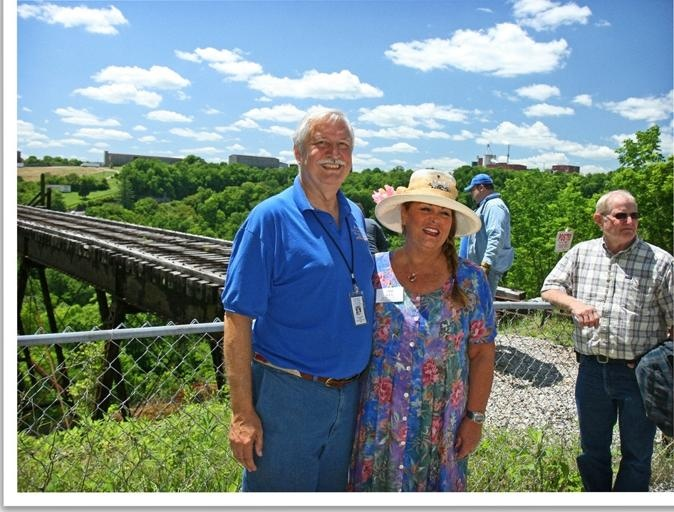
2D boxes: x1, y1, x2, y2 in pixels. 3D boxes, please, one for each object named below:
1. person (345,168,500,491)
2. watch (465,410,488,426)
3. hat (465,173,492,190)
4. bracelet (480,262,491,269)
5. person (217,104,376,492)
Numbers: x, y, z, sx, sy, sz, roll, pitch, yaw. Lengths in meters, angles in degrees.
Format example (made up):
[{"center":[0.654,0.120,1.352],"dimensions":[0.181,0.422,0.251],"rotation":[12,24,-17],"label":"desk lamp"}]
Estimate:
[{"center":[0.427,0.684,3.081],"dimensions":[0.936,2.311,0.767],"rotation":[3,15,7],"label":"person"},{"center":[0.790,0.909,2.938],"dimensions":[0.091,0.068,0.103],"rotation":[0,-18,43],"label":"watch"},{"center":[1.969,-1.039,7.216],"dimensions":[0.362,0.209,0.258],"rotation":[-1,5,16],"label":"hat"},{"center":[1.804,0.111,6.275],"dimensions":[0.085,0.056,0.108],"rotation":[-2,7,-43],"label":"bracelet"},{"center":[-0.178,0.258,2.838],"dimensions":[0.875,2.060,0.496],"rotation":[-2,-12,-13],"label":"person"}]
